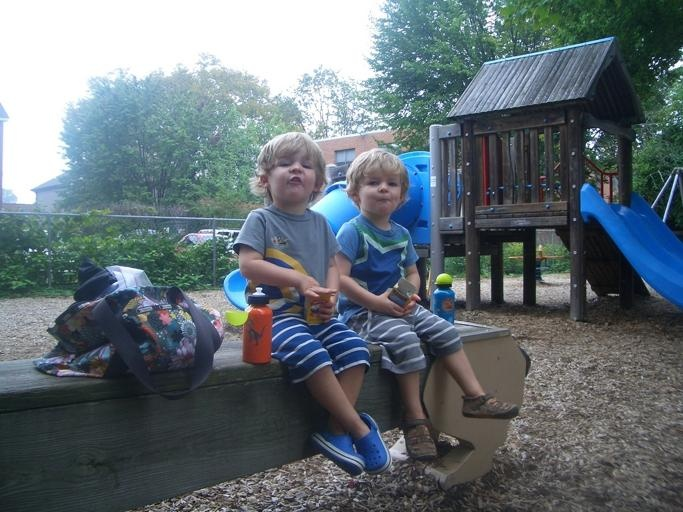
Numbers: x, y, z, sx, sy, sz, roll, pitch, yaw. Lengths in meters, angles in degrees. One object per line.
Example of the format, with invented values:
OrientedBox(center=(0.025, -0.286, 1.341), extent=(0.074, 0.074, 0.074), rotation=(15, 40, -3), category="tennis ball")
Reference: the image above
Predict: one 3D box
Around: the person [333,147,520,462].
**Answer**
OrientedBox(center=(0.417, 0.195, 2.561), extent=(0.564, 1.486, 0.739), rotation=(0, 1, -45), category="person")

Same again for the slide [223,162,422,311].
OrientedBox(center=(0.331, -0.451, 7.300), extent=(4.183, 2.013, 1.230), rotation=(-7, 5, -34), category="slide")

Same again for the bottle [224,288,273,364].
OrientedBox(center=(-0.329, 0.252, 1.982), extent=(0.139, 0.266, 0.149), rotation=(4, 8, -1), category="bottle")

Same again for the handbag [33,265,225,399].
OrientedBox(center=(-0.706, 0.195, 1.911), extent=(0.579, 0.414, 0.577), rotation=(8, 10, 39), category="handbag")

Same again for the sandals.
OrientedBox(center=(-0.015, 0.714, 2.067), extent=(0.129, 0.160, 0.423), rotation=(2, 3, 36), category="sandals")
